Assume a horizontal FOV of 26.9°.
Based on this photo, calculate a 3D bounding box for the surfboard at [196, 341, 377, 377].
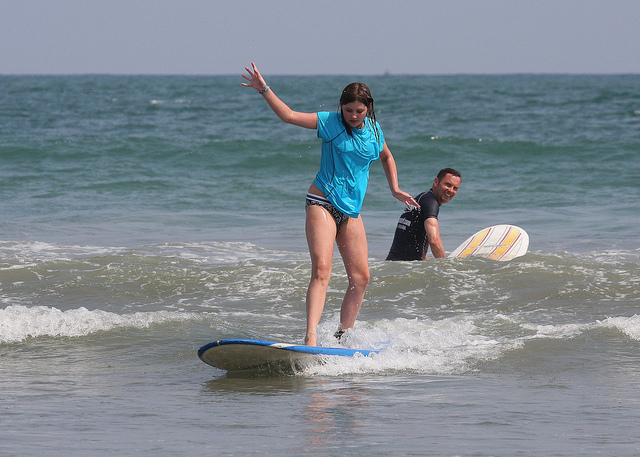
[{"bbox_3d":[-0.396,2.477,26.268,3.996,0.856,0.344,0,43,0],"label":"surfboard"}]

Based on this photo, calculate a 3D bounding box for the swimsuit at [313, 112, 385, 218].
[{"bbox_3d":[0.343,-1.299,26.565,1.427,1.989,1.367,-3,14,-25],"label":"swimsuit"}]

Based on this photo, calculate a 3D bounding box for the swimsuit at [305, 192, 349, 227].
[{"bbox_3d":[0.071,-0.377,26.192,0.833,0.545,0.584,19,6,-7],"label":"swimsuit"}]

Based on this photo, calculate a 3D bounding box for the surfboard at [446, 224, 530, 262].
[{"bbox_3d":[3.931,0.372,31.780,1.049,0.183,1.666,-7,-36,6],"label":"surfboard"}]
